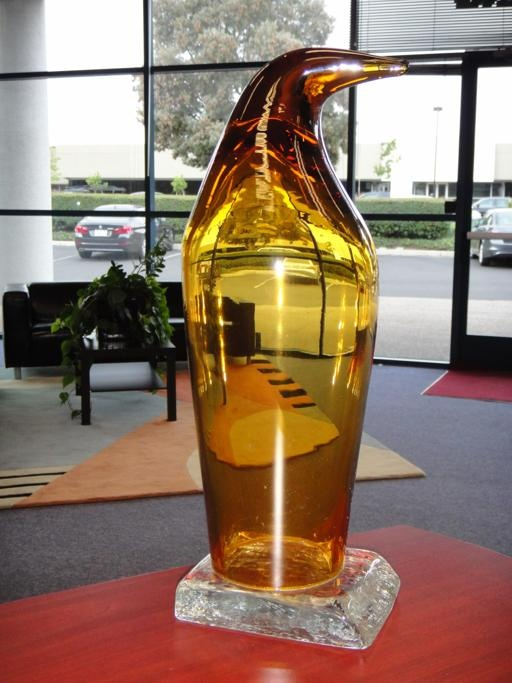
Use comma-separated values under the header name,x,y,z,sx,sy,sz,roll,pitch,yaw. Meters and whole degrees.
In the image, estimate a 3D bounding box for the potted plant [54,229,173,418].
name,x,y,z,sx,sy,sz,roll,pitch,yaw
potted plant,-0.961,-0.077,4.051,0.866,1.124,0.829,-7,9,-42

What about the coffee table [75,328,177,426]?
name,x,y,z,sx,sy,sz,roll,pitch,yaw
coffee table,-0.880,0.203,3.841,0.545,0.383,0.828,-1,11,-13

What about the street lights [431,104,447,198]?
name,x,y,z,sx,sy,sz,roll,pitch,yaw
street lights,1.607,-1.709,5.129,0.080,0.794,0.080,2,2,16
